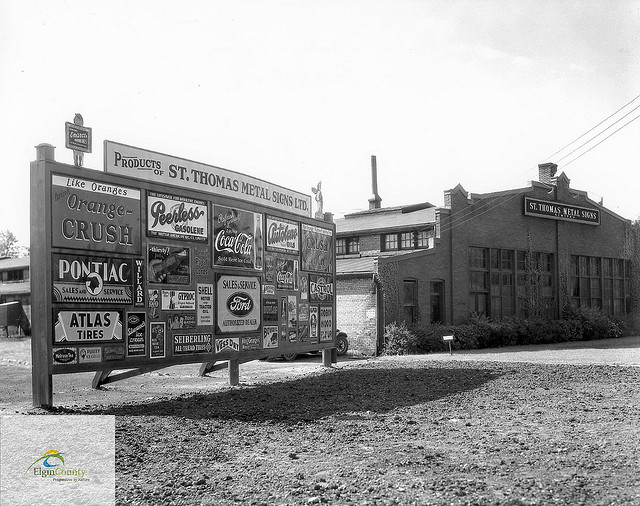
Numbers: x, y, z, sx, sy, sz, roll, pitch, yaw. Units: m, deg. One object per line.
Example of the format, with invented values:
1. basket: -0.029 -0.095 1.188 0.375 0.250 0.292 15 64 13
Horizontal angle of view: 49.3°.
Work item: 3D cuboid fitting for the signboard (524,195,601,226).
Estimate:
1. signboard: 15.305 -2.630 44.195 8.442 1.694 0.554 8 5 -41
